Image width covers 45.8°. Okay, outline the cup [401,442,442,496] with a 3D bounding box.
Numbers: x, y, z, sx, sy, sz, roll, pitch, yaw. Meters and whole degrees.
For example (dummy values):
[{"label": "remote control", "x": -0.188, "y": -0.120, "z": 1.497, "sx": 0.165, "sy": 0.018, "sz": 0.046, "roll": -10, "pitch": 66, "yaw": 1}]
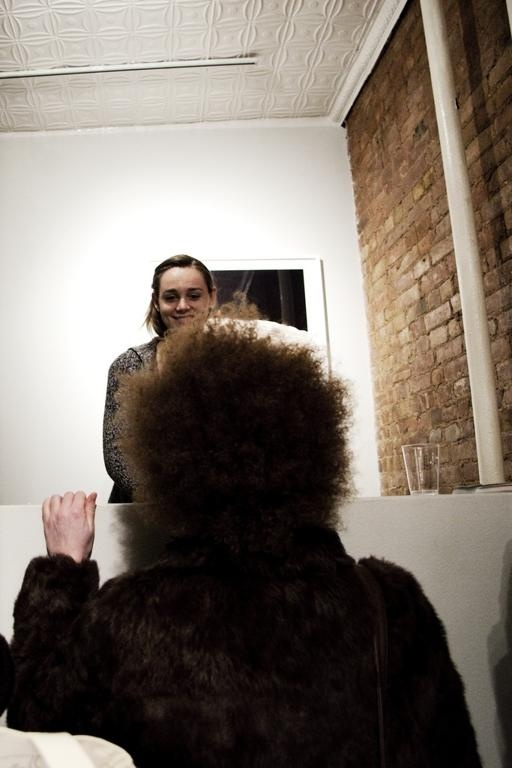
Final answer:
[{"label": "cup", "x": 0.283, "y": 0.146, "z": 1.033, "sx": 0.086, "sy": 0.097, "sz": 0.090, "roll": 0, "pitch": -8, "yaw": 0}]
